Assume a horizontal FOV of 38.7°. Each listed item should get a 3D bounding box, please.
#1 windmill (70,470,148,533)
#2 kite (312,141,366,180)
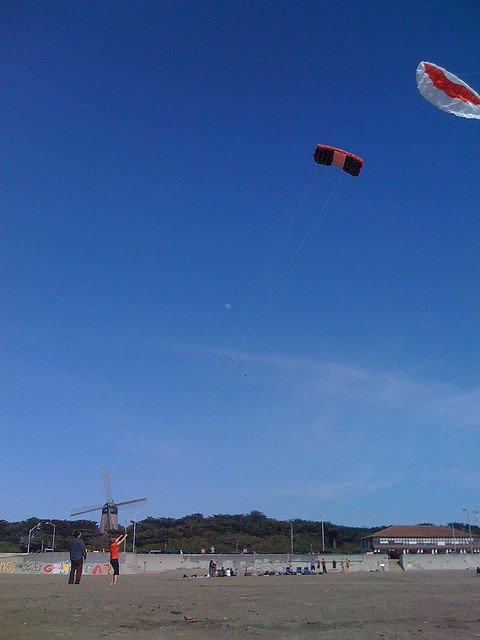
[{"bbox_3d":[-7.882,10.844,40.671,4.462,4.314,1.336,-1,21,-13],"label":"windmill"},{"bbox_3d":[4.529,-7.110,31.491,2.781,1.359,1.528,13,-23,-43],"label":"kite"}]
